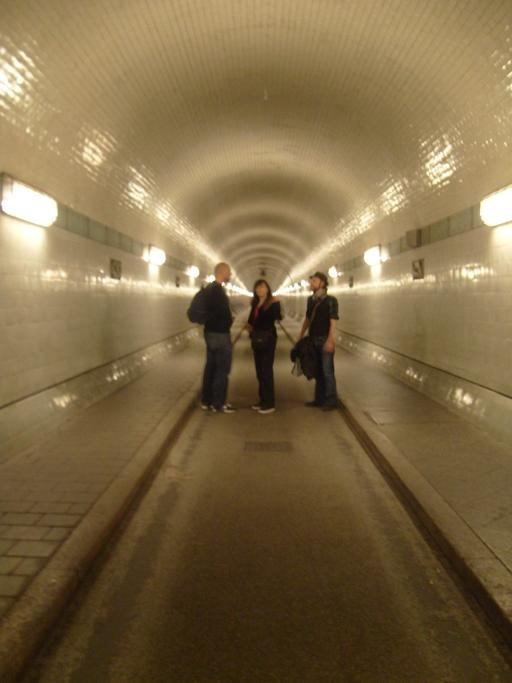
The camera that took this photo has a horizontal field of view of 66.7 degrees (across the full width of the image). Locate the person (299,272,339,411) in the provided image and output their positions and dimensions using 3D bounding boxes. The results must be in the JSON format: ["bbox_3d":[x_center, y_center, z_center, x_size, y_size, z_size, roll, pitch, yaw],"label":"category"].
[{"bbox_3d":[0.949,-0.034,5.792,0.544,2.032,0.618,0,-2,12],"label":"person"}]

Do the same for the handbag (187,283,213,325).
[{"bbox_3d":[-0.818,-0.552,5.637,0.322,0.603,0.525,1,-2,-12],"label":"handbag"}]

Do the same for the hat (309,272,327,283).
[{"bbox_3d":[0.916,-0.992,5.776,0.179,0.127,0.266,11,22,-29],"label":"hat"}]

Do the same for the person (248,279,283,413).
[{"bbox_3d":[0.122,0.058,5.654,0.484,1.928,0.700,1,-2,-1],"label":"person"}]

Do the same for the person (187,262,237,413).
[{"bbox_3d":[-0.631,-0.054,5.675,0.640,2.148,0.658,1,-2,-4],"label":"person"}]

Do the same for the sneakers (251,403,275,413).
[{"bbox_3d":[0.127,0.959,5.692,0.220,0.088,0.127,9,-4,-34],"label":"sneakers"}]

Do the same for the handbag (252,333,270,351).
[{"bbox_3d":[0.095,-0.043,5.598,0.287,0.304,0.203,1,6,8],"label":"handbag"}]
